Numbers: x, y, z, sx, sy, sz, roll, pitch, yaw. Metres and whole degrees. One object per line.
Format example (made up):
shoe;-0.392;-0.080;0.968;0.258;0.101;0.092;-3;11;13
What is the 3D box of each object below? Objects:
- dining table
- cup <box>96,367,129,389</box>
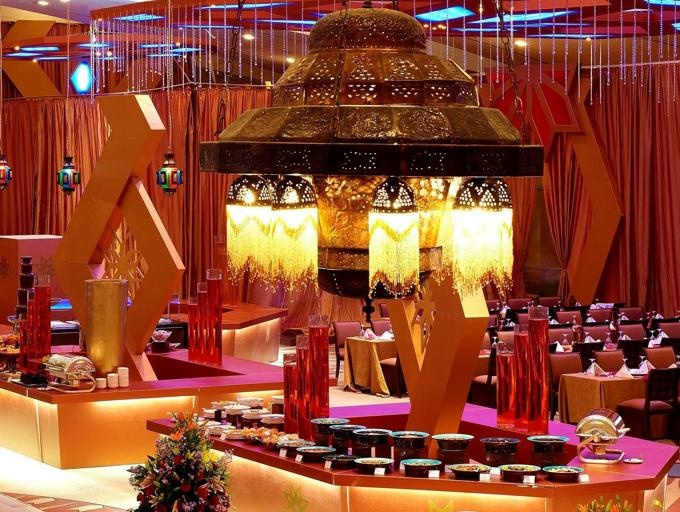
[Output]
dining table;2.776;1.484;7.807;0.800;0.685;0.856;0;0;0
cup;-2.155;1.147;6.869;0.283;0.181;0.114;0;3;-6
